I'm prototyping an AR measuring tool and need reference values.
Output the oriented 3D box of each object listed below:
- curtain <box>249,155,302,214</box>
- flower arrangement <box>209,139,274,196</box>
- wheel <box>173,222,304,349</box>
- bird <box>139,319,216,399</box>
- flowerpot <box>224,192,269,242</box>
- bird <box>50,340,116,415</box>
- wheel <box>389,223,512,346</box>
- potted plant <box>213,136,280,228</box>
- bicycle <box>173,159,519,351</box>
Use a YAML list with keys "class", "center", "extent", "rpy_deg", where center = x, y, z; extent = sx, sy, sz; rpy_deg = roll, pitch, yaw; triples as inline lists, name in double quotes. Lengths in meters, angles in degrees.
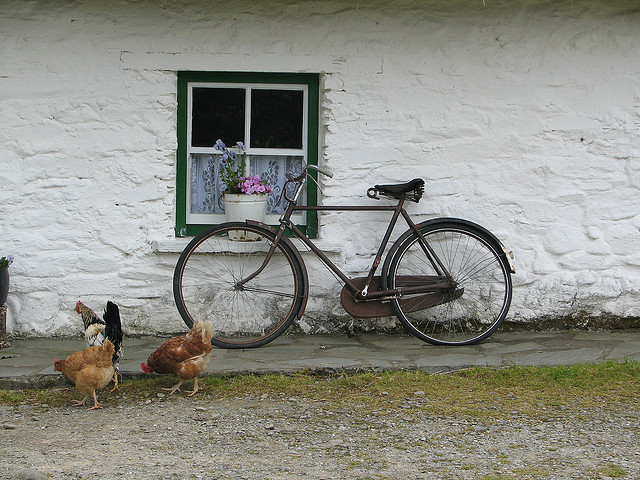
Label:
- class: "curtain"
  center: [-0.409, -0.526, 7.471]
  extent: [0.700, 0.636, 0.054]
  rpy_deg: [1, 2, 4]
- class: "flower arrangement"
  center: [-0.758, -0.667, 7.341]
  extent: [0.532, 0.507, 0.458]
  rpy_deg: [4, 9, 31]
- class: "wheel"
  center: [-0.705, 0.367, 7.173]
  extent: [1.122, 1.065, 0.684]
  rpy_deg: [-1, 16, -1]
- class: "bird"
  center: [-1.067, 0.840, 6.084]
  extent: [0.516, 0.558, 0.437]
  rpy_deg: [-4, 16, -12]
- class: "flowerpot"
  center: [-0.708, -0.222, 7.390]
  extent: [0.371, 0.415, 0.346]
  rpy_deg: [3, 11, -19]
- class: "bird"
  center: [-1.649, 0.965, 5.887]
  extent: [0.624, 0.389, 0.323]
  rpy_deg: [-18, -5, 31]
- class: "wheel"
  center: [1.156, 0.373, 7.540]
  extent: [1.208, 0.984, 1.169]
  rpy_deg: [1, 9, 0]
- class: "potted plant"
  center: [-0.684, -0.487, 7.402]
  extent: [0.578, 0.750, 0.472]
  rpy_deg: [-1, 13, -26]
- class: "bicycle"
  center: [0.273, 0.216, 7.288]
  extent: [3.289, 1.357, 0.999]
  rpy_deg: [0, -7, -25]
